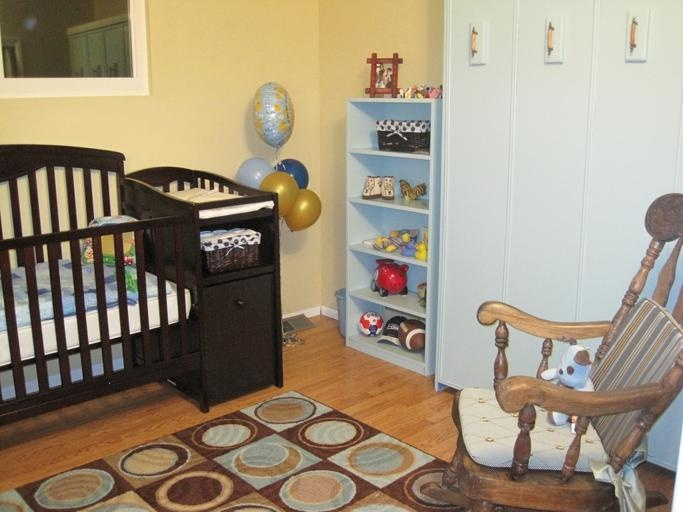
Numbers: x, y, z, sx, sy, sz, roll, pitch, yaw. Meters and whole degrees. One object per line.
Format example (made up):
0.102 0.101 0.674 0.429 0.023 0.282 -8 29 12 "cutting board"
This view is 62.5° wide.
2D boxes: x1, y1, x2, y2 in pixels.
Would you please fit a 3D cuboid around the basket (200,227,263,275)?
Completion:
-0.611 -0.035 3.175 0.407 0.225 0.254 -10 14 -41 "basket"

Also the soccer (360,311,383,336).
0.231 0.482 3.968 0.187 0.158 0.166 -2 -7 18 "soccer"

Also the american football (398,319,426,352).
0.465 0.529 3.731 0.188 0.156 0.208 1 6 1 "american football"

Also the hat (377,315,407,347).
0.363 0.516 3.951 0.153 0.120 0.230 18 34 34 "hat"

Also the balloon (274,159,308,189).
-0.334 -0.587 4.005 0.250 0.204 0.263 -13 3 -9 "balloon"

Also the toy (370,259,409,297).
0.391 0.145 3.981 0.222 0.227 0.284 -10 17 -38 "toy"

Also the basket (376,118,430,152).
0.396 -0.767 3.593 0.363 0.174 0.249 13 22 37 "basket"

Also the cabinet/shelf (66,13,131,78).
-1.522 -1.318 3.496 0.463 0.387 0.241 -10 12 -43 "cabinet/shelf"

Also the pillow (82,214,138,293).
-1.262 -0.027 3.148 0.127 0.398 0.484 -8 6 -40 "pillow"

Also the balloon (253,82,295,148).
-0.450 -0.936 3.811 0.267 0.385 0.296 0 3 41 "balloon"

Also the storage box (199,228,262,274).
-0.609 -0.028 3.176 0.402 0.223 0.255 -10 14 -41 "storage box"
